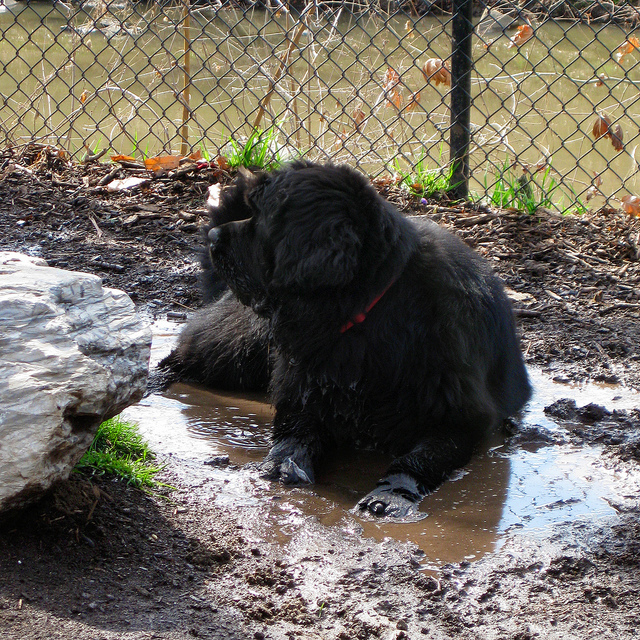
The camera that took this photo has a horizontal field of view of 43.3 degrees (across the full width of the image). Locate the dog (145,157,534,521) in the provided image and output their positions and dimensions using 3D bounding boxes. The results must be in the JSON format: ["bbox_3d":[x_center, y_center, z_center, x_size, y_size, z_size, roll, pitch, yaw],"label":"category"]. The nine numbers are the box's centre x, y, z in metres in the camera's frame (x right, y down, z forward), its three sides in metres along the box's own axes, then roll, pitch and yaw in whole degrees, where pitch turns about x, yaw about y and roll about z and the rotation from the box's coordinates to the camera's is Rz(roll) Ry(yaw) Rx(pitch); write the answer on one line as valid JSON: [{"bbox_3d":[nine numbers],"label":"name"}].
[{"bbox_3d":[0.253,0.047,3.849,1.646,1.695,0.910,8,0,-5],"label":"dog"}]
